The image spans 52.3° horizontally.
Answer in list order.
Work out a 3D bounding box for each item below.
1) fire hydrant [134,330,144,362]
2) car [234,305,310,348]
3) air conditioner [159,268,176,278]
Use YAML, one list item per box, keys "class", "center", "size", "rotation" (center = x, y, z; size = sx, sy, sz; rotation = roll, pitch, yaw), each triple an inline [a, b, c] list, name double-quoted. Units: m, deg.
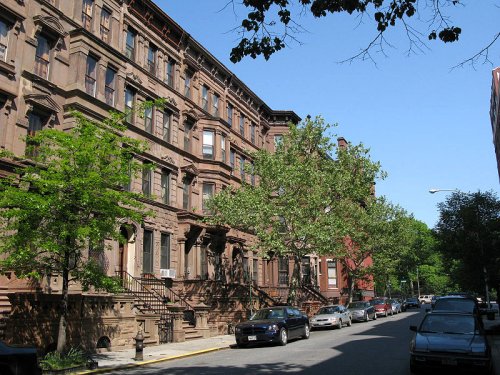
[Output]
- class: "fire hydrant"
  center: [-4.547, 6.405, 20.813]
  size: [0.349, 1.288, 1.091]
  rotation: [2, -19, -12]
- class: "car"
  center: [1.342, 7.054, 25.853]
  size: [2.194, 1.971, 4.794]
  rotation: [-15, -23, 34]
- class: "air conditioner"
  center: [-5.093, 5.248, 31.267]
  size: [0.424, 0.521, 0.930]
  rotation: [-6, -16, 12]
